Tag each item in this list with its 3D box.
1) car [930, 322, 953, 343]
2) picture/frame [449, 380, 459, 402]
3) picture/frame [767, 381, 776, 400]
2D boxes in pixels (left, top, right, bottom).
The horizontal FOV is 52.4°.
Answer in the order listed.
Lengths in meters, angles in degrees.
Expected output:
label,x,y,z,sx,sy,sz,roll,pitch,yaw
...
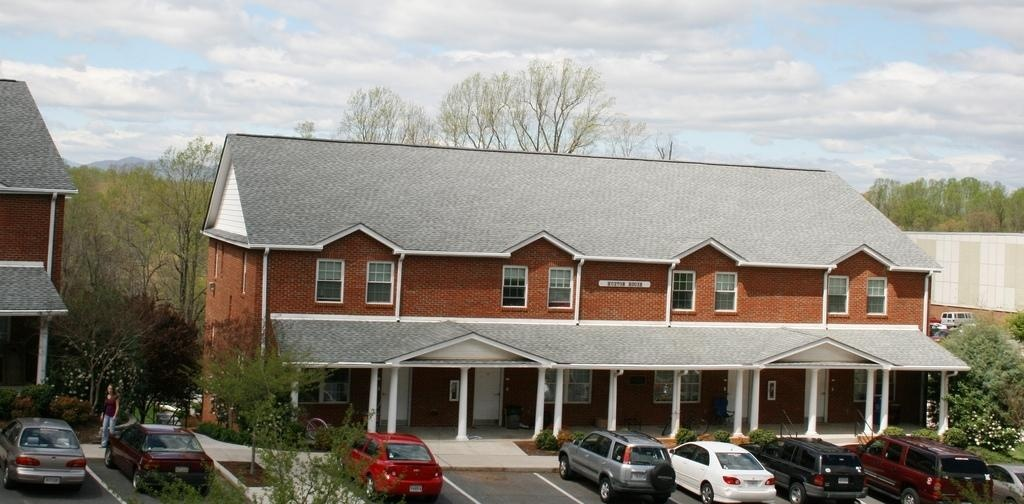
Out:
label,x,y,z,sx,sy,sz,roll,pitch,yaw
car,41.433,7.854,100.529,2.549,1.051,3.345,4,6,27
picture/frame,-4.271,10.065,75.183,0.662,1.528,0.162,2,-3,-5
picture/frame,19.594,10.501,78.727,0.719,1.518,0.193,3,-3,-19
